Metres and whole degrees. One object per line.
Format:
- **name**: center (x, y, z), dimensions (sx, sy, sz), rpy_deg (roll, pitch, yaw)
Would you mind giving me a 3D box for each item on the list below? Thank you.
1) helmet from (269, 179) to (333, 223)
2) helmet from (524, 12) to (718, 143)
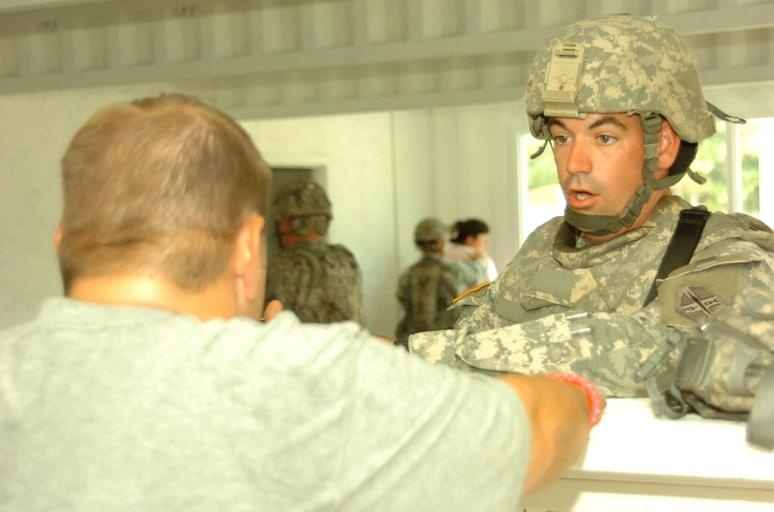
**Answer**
- **helmet**: center (-0.295, -0.206, 3.688), dimensions (0.180, 0.139, 0.135), rpy_deg (-17, 2, 16)
- **helmet**: center (0.576, -0.387, 2.535), dimensions (0.334, 0.208, 0.337), rpy_deg (-1, 0, 33)
